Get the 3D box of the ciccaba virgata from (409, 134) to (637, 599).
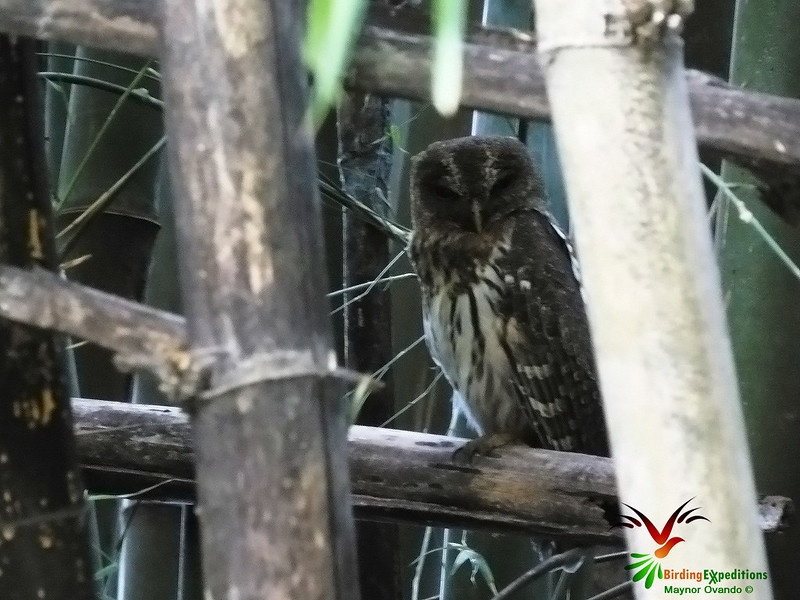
[{"bbox_3d":[0.132,-0.010,1.896,0.242,0.457,0.154,1,-19,0],"label":"ciccaba virgata"}]
